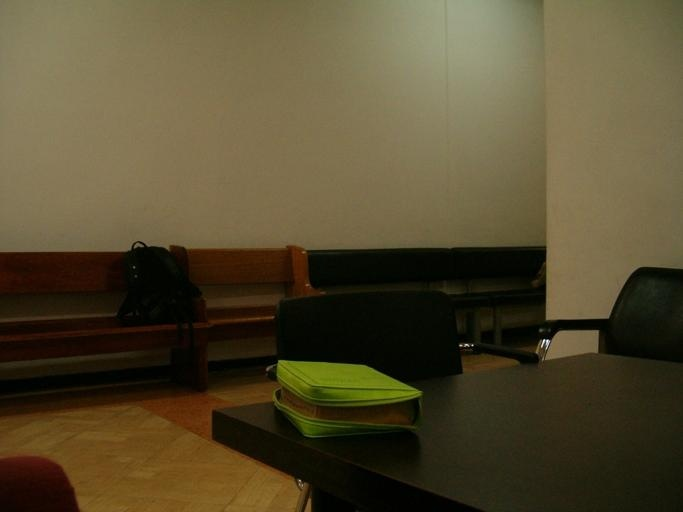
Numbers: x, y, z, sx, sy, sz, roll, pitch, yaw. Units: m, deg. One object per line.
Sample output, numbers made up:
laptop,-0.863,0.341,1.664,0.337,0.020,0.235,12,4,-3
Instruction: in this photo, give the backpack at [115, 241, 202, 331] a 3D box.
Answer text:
backpack,-1.137,0.291,3.670,0.627,0.736,0.435,4,-11,-43
